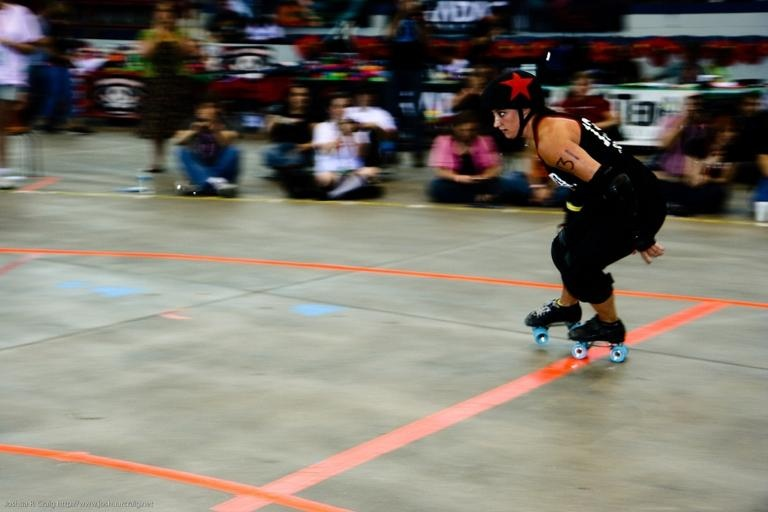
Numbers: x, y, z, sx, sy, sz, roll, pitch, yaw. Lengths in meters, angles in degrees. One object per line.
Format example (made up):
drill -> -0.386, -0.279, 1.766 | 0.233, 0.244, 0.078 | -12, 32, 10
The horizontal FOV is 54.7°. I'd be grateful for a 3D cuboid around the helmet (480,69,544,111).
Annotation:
helmet -> 0.875, -1.091, 4.878 | 0.416, 0.267, 0.169 | 5, 12, 1
